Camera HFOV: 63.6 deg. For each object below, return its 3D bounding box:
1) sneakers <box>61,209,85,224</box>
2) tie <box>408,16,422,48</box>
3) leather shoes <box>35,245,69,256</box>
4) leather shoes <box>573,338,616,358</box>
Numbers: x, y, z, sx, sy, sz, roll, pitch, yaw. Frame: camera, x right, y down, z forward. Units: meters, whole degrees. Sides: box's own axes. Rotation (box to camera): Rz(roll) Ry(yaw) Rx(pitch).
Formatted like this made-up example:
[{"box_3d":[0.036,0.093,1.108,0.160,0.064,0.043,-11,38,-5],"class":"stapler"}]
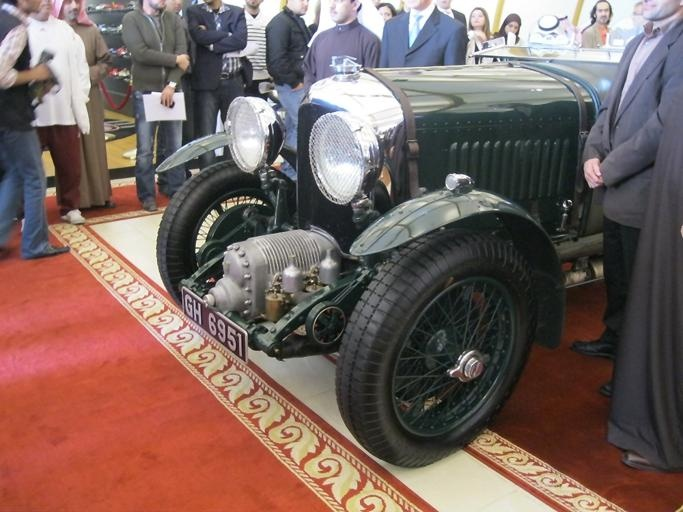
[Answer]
[{"box_3d":[-2.307,-0.329,4.771,0.093,0.129,0.261,-3,6,-37],"class":"sneakers"},{"box_3d":[0.566,-1.724,4.231,0.118,0.201,0.046,14,19,32],"class":"tie"},{"box_3d":[-2.187,-0.061,4.165,0.199,0.092,0.069,-13,22,-33],"class":"leather shoes"},{"box_3d":[1.427,0.521,3.125,0.196,0.104,0.100,8,11,12],"class":"leather shoes"}]
